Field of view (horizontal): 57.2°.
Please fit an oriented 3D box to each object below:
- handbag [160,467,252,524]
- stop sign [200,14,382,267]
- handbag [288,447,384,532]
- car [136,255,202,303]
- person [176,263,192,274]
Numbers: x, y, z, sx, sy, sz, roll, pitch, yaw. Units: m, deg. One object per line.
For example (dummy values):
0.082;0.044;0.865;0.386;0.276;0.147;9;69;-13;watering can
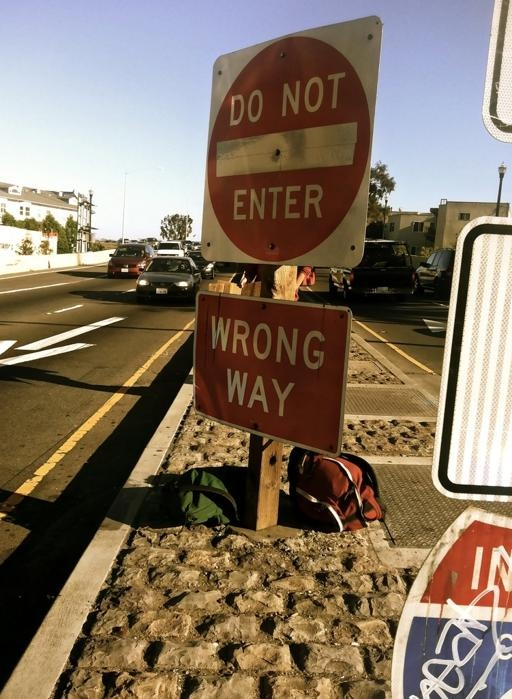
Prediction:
-0.365;0.962;3.133;0.435;0.200;0.377;3;42;-3;handbag
0.129;-1.015;2.372;1.006;1.143;0.127;8;9;40;stop sign
0.536;0.873;3.355;0.668;0.730;0.498;0;6;27;handbag
-3.532;-2.824;18.863;2.241;1.701;2.362;2;8;-1;car
-2.979;-3.394;19.348;0.400;0.338;0.713;3;17;-5;person
